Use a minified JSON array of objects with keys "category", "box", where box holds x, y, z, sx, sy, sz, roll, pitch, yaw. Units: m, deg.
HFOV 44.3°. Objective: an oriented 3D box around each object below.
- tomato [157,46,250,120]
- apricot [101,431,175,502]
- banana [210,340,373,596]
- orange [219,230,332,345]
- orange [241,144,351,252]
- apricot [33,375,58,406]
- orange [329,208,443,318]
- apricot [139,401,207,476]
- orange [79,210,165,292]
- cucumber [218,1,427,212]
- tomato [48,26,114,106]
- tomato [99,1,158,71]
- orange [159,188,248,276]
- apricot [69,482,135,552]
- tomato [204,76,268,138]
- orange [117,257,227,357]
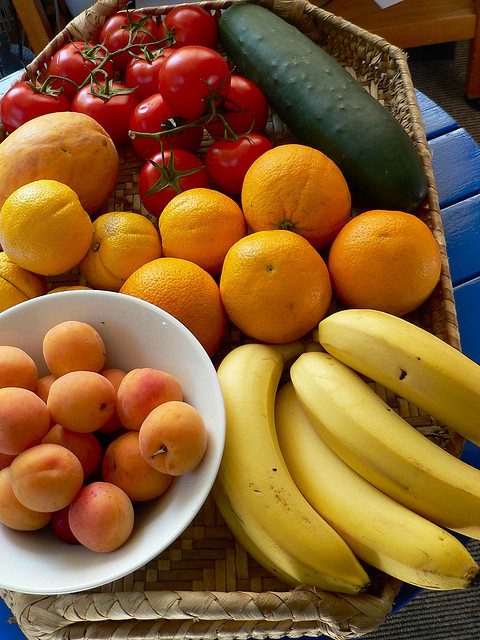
[{"category":"tomato","box":[-0.045,-0.309,0.758,0.091,0.077,0.115,-27,38,-34]},{"category":"apricot","box":[-0.091,0.130,0.500,0.067,0.060,0.058,5,85,-1]},{"category":"banana","box":[0.035,0.126,0.579,0.146,0.079,0.278,-15,61,-6]},{"category":"orange","box":[0.034,-0.046,0.661,0.121,0.109,0.109,20,50,26]},{"category":"orange","box":[0.058,-0.127,0.689,0.129,0.120,0.132,0,86,5]},{"category":"apricot","box":[-0.176,0.064,0.544,0.022,0.020,0.025,9,4,-14]},{"category":"orange","box":[0.160,-0.066,0.651,0.127,0.108,0.123,15,34,35]},{"category":"apricot","box":[-0.063,0.104,0.496,0.060,0.062,0.058,-4,79,45]},{"category":"orange","box":[-0.148,-0.077,0.690,0.098,0.087,0.096,3,6,-17]},{"category":"cucumber","box":[0.106,-0.274,0.820,0.140,0.137,0.421,-41,63,8]},{"category":"tomato","box":[-0.220,-0.354,0.817,0.086,0.086,0.099,-19,37,-24]},{"category":"tomato","box":[-0.141,-0.402,0.870,0.079,0.115,0.091,-24,41,-28]},{"category":"orange","box":[-0.040,-0.100,0.688,0.111,0.091,0.086,-10,73,-26]},{"category":"apricot","box":[-0.109,0.156,0.467,0.056,0.055,0.053,0,83,2]},{"category":"tomato","box":[-0.014,-0.284,0.820,0.115,0.085,0.084,16,37,24]},{"category":"orange","box":[-0.071,-0.002,0.620,0.097,0.105,0.095,-27,7,12]}]
